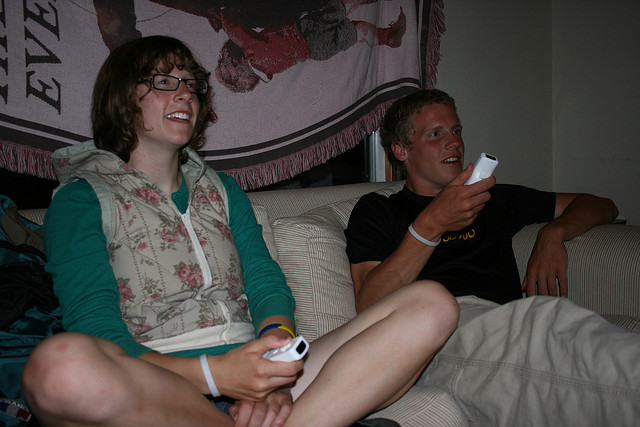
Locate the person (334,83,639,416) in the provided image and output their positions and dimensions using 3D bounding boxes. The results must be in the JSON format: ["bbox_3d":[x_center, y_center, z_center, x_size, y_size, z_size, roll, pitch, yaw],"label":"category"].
[{"bbox_3d":[0.610,0.082,2.019,0.959,0.923,1.354,-9,11,-10],"label":"person"}]

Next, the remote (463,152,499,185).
[{"bbox_3d":[0.596,-0.161,1.845,0.078,0.136,0.039,28,12,-10],"label":"remote"}]

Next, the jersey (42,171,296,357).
[{"bbox_3d":[-0.506,0.206,1.783,0.840,0.770,0.463,0,-9,-44],"label":"jersey"}]

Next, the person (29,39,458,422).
[{"bbox_3d":[-0.321,0.004,1.584,1.055,1.112,0.930,-1,11,-26],"label":"person"}]
